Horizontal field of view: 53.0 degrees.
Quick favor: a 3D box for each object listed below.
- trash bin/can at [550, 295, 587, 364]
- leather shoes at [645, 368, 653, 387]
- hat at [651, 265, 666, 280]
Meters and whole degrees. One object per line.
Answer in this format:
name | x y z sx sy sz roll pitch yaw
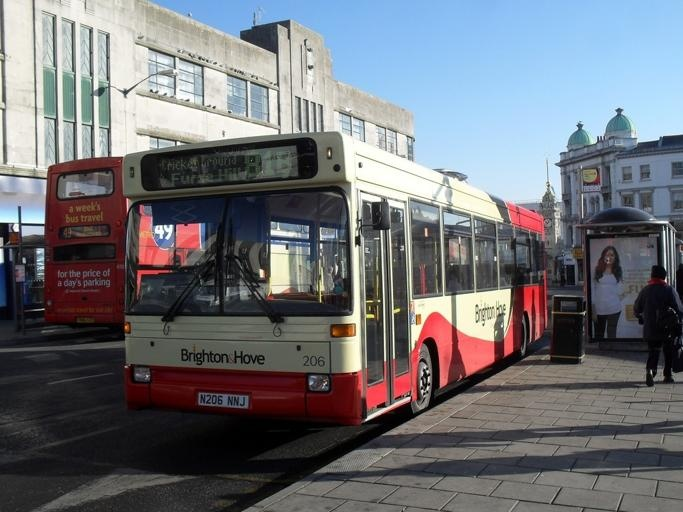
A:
trash bin/can | 4.964 1.597 15.057 0.697 1.443 0.733 0 -1 20
leather shoes | 5.310 2.129 11.801 0.122 0.365 0.135 -4 25 27
hat | 5.779 0.324 12.514 0.195 0.271 0.264 -11 -22 38
